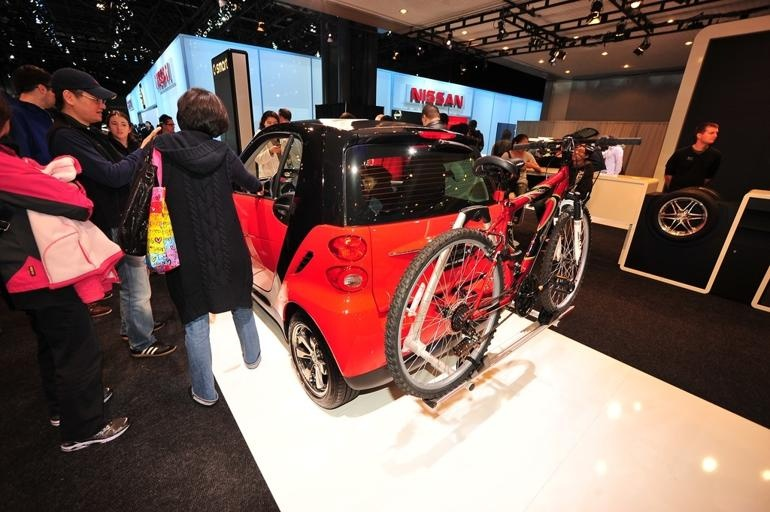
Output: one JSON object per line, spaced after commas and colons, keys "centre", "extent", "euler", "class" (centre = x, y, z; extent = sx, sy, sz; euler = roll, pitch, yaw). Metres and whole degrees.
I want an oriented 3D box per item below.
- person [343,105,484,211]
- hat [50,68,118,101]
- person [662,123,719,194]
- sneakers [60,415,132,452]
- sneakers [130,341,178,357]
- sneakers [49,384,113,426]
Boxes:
{"centre": [0.158, -0.833, 3.823], "extent": [0.692, 0.627, 1.262], "euler": [-14, 31, -22], "class": "person"}
{"centre": [-2.691, -1.487, 3.877], "extent": [0.462, 0.186, 0.292], "euler": [-5, 30, -37], "class": "hat"}
{"centre": [4.634, -1.442, 6.536], "extent": [0.623, 1.104, 0.376], "euler": [20, 29, 32], "class": "person"}
{"centre": [-2.456, 1.563, 3.760], "extent": [0.545, 0.256, 0.214], "euler": [-7, 21, -42], "class": "sneakers"}
{"centre": [-2.350, 0.961, 4.464], "extent": [0.449, 0.190, 0.175], "euler": [-3, 16, -23], "class": "sneakers"}
{"centre": [-2.608, 1.277, 3.679], "extent": [0.198, 0.172, 0.512], "euler": [-14, 24, 30], "class": "sneakers"}
